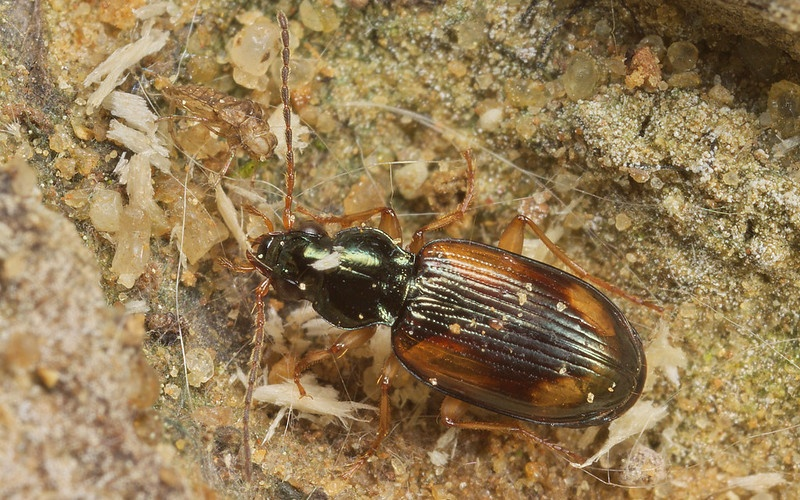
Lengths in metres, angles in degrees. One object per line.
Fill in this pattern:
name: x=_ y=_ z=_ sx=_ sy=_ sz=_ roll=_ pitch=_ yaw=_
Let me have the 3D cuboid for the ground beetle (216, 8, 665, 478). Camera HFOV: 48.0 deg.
ground beetle: x=0.423 y=0.484 z=6.807 sx=3.013 sy=0.661 sz=1.673 roll=14 pitch=84 yaw=2
